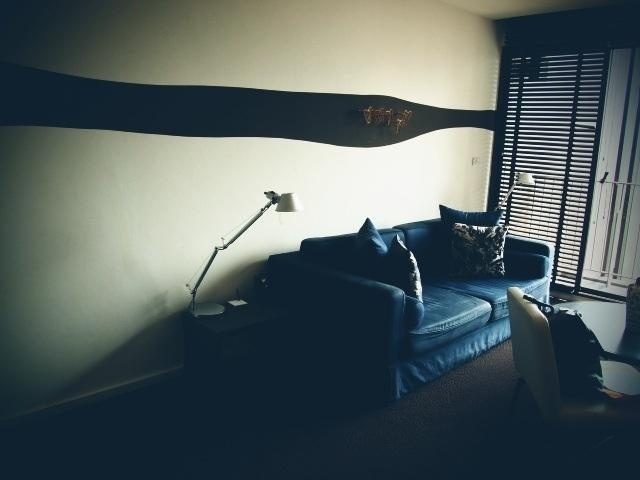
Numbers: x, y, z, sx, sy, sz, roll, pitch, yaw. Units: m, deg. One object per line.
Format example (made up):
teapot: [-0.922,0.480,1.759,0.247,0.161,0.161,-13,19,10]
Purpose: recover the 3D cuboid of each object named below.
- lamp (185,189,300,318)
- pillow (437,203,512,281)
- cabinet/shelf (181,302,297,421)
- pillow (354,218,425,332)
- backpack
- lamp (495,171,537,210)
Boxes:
lamp: [-0.592,0.060,3.373,0.796,0.903,0.536,-3,15,-19]
pillow: [1.430,0.039,4.188,0.621,0.841,0.303,0,-16,4]
cabinet/shelf: [-0.520,0.846,3.285,0.586,0.874,0.803,6,9,44]
pillow: [0.514,0.278,3.324,0.220,0.625,0.602,-12,21,-16]
backpack: [1.444,0.662,2.533,0.145,0.482,0.369,-17,18,-38]
lamp: [2.206,-0.540,4.996,0.384,0.492,0.856,8,16,22]
